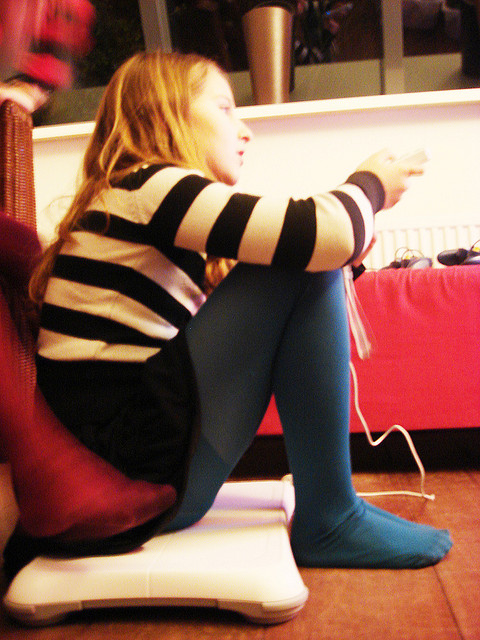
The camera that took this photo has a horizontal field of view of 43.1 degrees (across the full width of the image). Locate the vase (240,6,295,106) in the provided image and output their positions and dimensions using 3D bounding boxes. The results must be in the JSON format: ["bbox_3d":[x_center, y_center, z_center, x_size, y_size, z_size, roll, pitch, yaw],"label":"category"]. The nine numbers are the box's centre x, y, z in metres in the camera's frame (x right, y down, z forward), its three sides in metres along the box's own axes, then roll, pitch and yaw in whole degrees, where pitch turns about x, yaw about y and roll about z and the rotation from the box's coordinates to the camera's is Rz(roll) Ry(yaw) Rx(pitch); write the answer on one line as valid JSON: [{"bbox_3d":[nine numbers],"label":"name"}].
[{"bbox_3d":[0.127,-0.998,2.170,0.191,0.410,0.248,2,38,11],"label":"vase"}]
